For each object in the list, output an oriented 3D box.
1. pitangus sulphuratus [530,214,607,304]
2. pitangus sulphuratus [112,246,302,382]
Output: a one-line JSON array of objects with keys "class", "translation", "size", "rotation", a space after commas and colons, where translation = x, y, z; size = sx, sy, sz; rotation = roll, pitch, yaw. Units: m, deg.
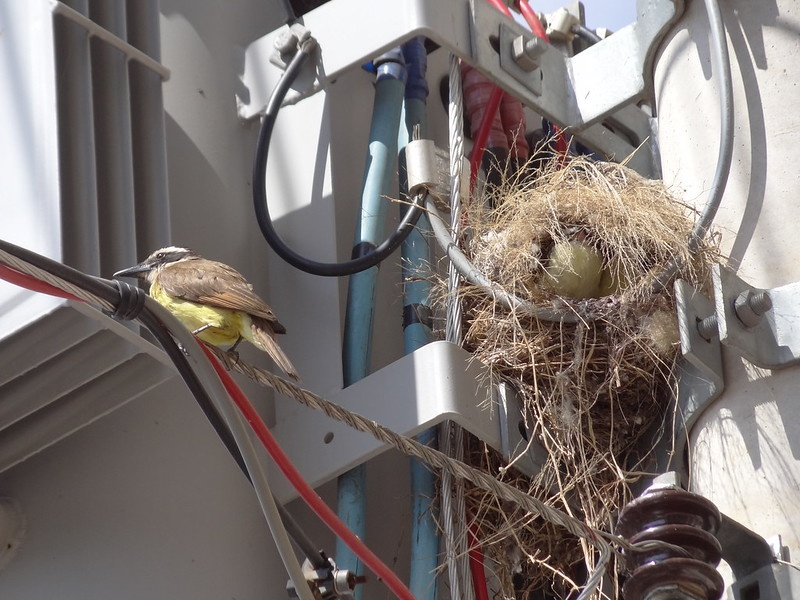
[{"class": "pitangus sulphuratus", "translation": [0.650, -0.135, 3.530], "size": [0.415, 0.394, 0.181], "rotation": [3, 41, 18]}, {"class": "pitangus sulphuratus", "translation": [-0.652, 0.054, 2.887], "size": [0.636, 0.334, 0.241], "rotation": [25, -3, 10]}]
